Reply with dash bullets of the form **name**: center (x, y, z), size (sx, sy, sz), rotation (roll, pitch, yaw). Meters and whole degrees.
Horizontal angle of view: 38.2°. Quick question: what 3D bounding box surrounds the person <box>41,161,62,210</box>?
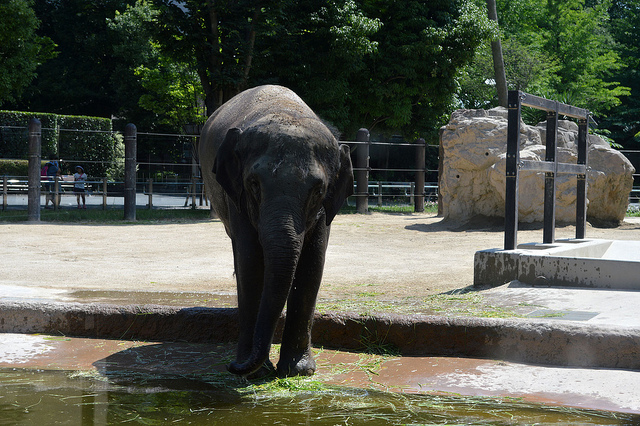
- **person**: center (-8.297, -0.895, 28.533), size (0.584, 1.464, 2.866), rotation (0, 2, -17)

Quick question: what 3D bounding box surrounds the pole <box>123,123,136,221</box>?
- **pole**: center (-5.168, -1.110, 25.058), size (0.332, 2.621, 0.560), rotation (0, 2, -10)

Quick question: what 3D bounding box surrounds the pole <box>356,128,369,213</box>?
- **pole**: center (1.297, -1.309, 28.629), size (0.337, 2.591, 0.775), rotation (1, 2, 1)

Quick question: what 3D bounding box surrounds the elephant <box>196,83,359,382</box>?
- **elephant**: center (-0.696, 0.244, 14.738), size (2.316, 4.519, 1.375), rotation (1, 2, 14)

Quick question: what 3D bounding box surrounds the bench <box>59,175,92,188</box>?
- **bench**: center (-8.283, -1.076, 30.397), size (0.836, 0.369, 0.578), rotation (1, -6, -1)

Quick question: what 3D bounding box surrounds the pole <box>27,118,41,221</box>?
- **pole**: center (-7.595, -1.084, 24.611), size (0.423, 2.477, 0.459), rotation (3, -3, -6)
